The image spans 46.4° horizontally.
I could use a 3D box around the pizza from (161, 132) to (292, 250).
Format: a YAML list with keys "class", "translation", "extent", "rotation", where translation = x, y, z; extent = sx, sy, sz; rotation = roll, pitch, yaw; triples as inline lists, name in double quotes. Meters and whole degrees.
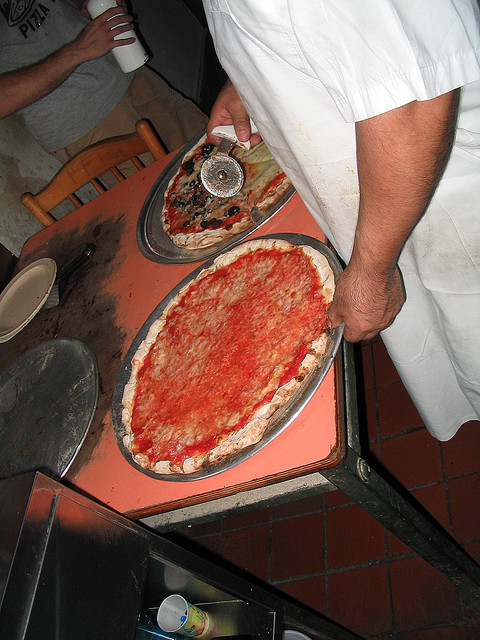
- class: "pizza"
  translation: [-0.053, -0.281, 1.328]
  extent: [0.358, 0.039, 0.294]
  rotation: [10, 70, 15]

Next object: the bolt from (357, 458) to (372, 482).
- class: "bolt"
  translation: [0.172, 0.208, 0.777]
  extent: [0.006, 0.028, 0.028]
  rotation: [-22, 34, 32]

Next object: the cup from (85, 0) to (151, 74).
- class: "cup"
  translation: [-0.374, -0.891, 1.739]
  extent: [0.104, 0.194, 0.208]
  rotation: [-25, 58, -1]

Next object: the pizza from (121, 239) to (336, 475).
- class: "pizza"
  translation: [-0.012, 0.071, 0.978]
  extent: [0.433, 0.013, 0.400]
  rotation: [-15, 54, 25]
